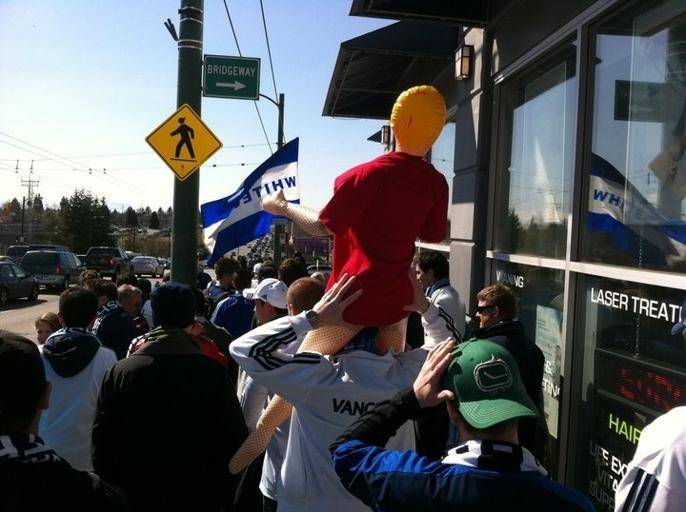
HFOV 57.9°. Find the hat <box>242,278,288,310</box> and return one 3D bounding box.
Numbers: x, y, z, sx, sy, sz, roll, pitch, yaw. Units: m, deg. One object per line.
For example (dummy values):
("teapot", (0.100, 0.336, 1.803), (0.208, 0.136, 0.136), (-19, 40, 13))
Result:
("hat", (-0.634, 0.266, 4.949), (0.382, 0.209, 0.253), (10, 6, 25))

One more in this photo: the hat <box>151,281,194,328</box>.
("hat", (-1.053, 0.308, 3.827), (0.258, 0.261, 0.254), (1, 3, -18))

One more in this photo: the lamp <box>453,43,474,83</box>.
("lamp", (1.439, -2.329, 7.419), (0.171, 0.408, 0.248), (1, 3, -7))

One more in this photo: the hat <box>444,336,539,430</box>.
("hat", (0.642, 0.544, 2.798), (0.347, 0.296, 0.549), (-7, 1, -13))

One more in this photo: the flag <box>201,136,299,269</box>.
("flag", (-1.021, -0.588, 6.816), (1.048, 1.463, 0.156), (-4, 30, -11))
